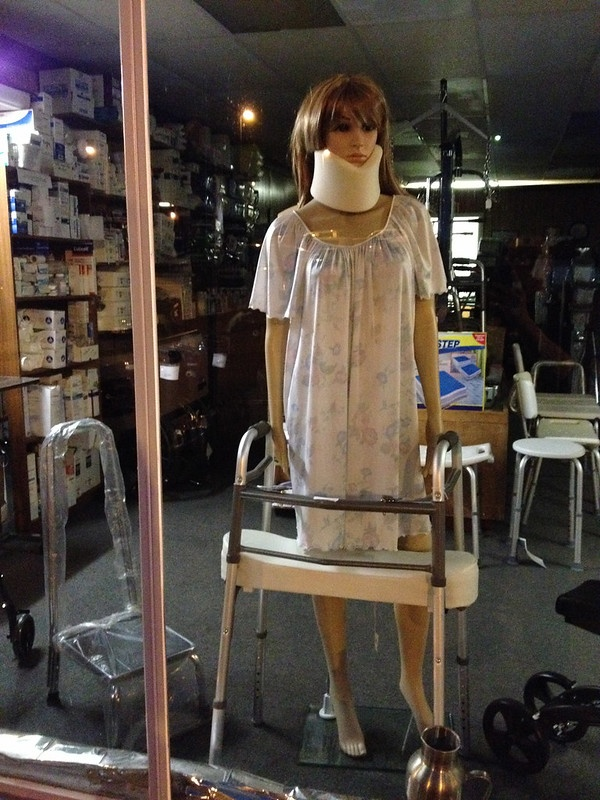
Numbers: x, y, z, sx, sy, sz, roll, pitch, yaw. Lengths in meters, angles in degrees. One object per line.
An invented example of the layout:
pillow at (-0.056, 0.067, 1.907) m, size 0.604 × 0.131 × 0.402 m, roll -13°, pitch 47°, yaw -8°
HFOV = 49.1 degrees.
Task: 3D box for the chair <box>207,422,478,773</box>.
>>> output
chair at (0.058, 0.329, 1.121) m, size 0.385 × 0.618 × 0.314 m, roll 3°, pitch 8°, yaw 3°

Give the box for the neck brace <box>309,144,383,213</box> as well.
neck brace at (0.064, -0.299, 0.927) m, size 0.074 × 0.083 × 0.077 m, roll 14°, pitch 5°, yaw -16°

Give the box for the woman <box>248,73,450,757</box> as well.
woman at (0.065, 0.079, 1.015) m, size 0.299 × 1.069 × 0.126 m, roll 5°, pitch 8°, yaw 25°

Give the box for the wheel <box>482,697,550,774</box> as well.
wheel at (0.338, 0.535, 1.037) m, size 0.028 × 0.129 × 0.103 m, roll -18°, pitch 11°, yaw -41°

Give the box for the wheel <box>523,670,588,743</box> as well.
wheel at (0.395, 0.459, 1.025) m, size 0.092 × 0.040 × 0.102 m, roll -7°, pitch -42°, yaw 44°

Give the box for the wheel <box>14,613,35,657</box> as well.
wheel at (-0.591, 0.508, 1.411) m, size 0.062 × 0.106 × 0.013 m, roll 6°, pitch 9°, yaw 31°

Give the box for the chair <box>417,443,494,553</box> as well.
chair at (0.242, 0.148, 1.001) m, size 0.094 × 0.154 × 0.102 m, roll 6°, pitch 7°, yaw -2°
